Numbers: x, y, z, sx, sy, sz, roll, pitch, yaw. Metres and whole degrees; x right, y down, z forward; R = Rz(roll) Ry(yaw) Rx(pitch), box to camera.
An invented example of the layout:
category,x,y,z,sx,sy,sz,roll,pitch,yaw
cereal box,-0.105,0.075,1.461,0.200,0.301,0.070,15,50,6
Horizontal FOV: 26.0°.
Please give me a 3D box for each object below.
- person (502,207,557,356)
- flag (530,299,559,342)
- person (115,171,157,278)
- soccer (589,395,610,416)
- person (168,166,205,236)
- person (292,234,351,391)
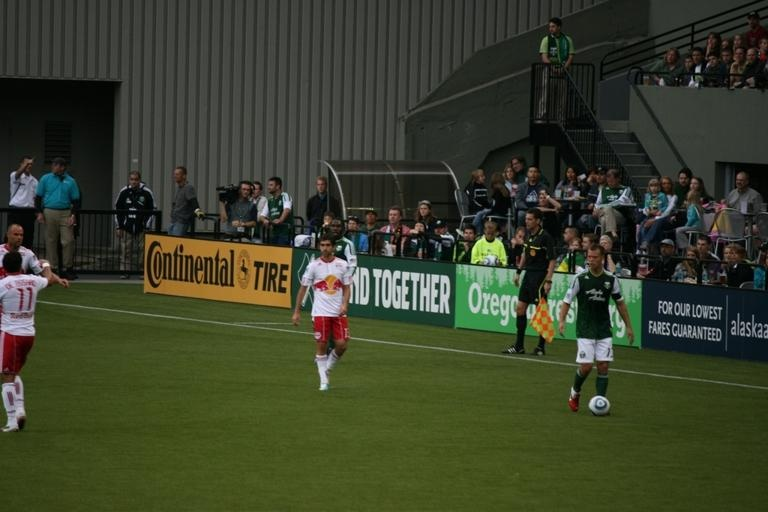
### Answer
category,x,y,z,sx,sy,sz,roll,pitch,yaw
person,3.339,0.432,38.026,1.037,3.699,1.012,0,0,-39
flag,3.565,1.357,37.441,0.539,0.084,1.476,3,-47,12
person,-6.727,-0.868,44.695,0.916,3.132,0.841,5,25,1
soccer,4.415,3.097,34.079,0.324,0.431,0.363,3,-2,-21
person,-5.253,-1.452,43.507,0.801,1.762,1.071,1,0,-9
person,-1.224,1.129,35.373,0.800,3.154,1.544,0,0,17
